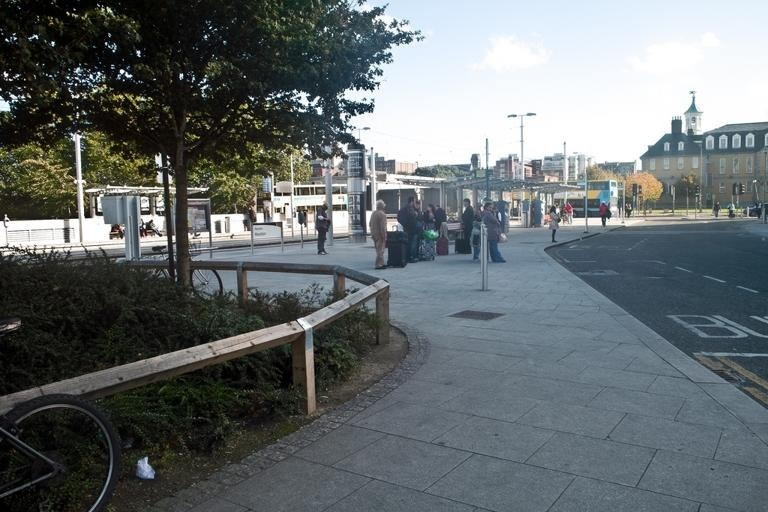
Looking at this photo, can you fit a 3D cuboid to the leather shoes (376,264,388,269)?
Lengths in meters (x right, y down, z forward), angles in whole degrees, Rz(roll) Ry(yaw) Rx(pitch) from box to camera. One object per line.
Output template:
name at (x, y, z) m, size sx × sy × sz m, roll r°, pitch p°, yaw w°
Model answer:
leather shoes at (-0.043, 0.315, 18.520) m, size 0.356 × 0.158 × 0.125 m, roll -5°, pitch 2°, yaw 20°

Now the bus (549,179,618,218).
bus at (20.356, -5.821, 62.732) m, size 6.804 × 2.919 × 2.388 m, roll -6°, pitch -3°, yaw -18°

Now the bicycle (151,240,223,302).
bicycle at (-3.876, 0.278, 11.375) m, size 1.723 × 1.056 × 0.795 m, roll -3°, pitch -6°, yaw -42°

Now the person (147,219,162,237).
person at (-16.016, -1.943, 42.282) m, size 0.762 × 1.123 × 1.437 m, roll 1°, pitch 8°, yaw 17°

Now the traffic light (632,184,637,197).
traffic light at (24.422, -6.453, 59.219) m, size 0.333 × 1.029 × 1.294 m, roll 1°, pitch 8°, yaw 14°

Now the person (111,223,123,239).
person at (-17.392, -1.646, 39.767) m, size 0.743 × 0.893 × 1.669 m, roll -4°, pitch 8°, yaw -20°

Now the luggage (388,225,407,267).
luggage at (0.401, -0.247, 18.718) m, size 0.569 × 1.075 × 0.663 m, roll -1°, pitch 8°, yaw 1°

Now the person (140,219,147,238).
person at (-16.434, -1.912, 41.744) m, size 0.273 × 1.095 × 1.060 m, roll -3°, pitch 8°, yaw -14°
